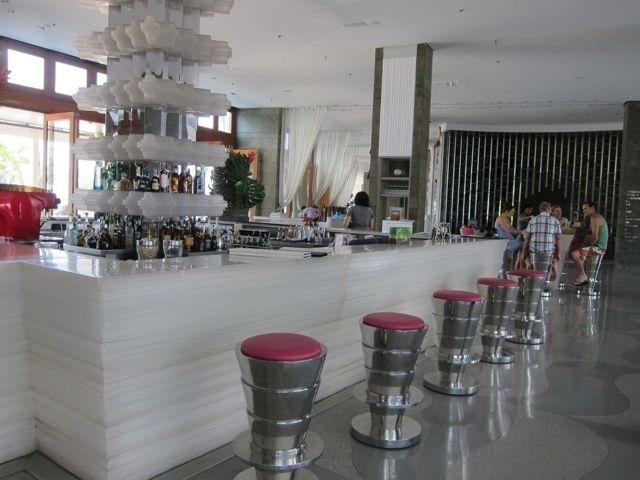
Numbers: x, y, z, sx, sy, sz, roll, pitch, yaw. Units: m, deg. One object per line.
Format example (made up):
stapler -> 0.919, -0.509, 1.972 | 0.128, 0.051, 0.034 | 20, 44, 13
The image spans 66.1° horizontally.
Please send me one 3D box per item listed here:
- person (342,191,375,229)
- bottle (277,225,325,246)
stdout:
person -> 0.612, -0.463, 7.726 | 0.439, 0.598, 0.792 | 2, 7, 4
bottle -> -0.131, -0.034, 4.451 | 0.217, 0.104, 0.310 | 3, 5, 21
